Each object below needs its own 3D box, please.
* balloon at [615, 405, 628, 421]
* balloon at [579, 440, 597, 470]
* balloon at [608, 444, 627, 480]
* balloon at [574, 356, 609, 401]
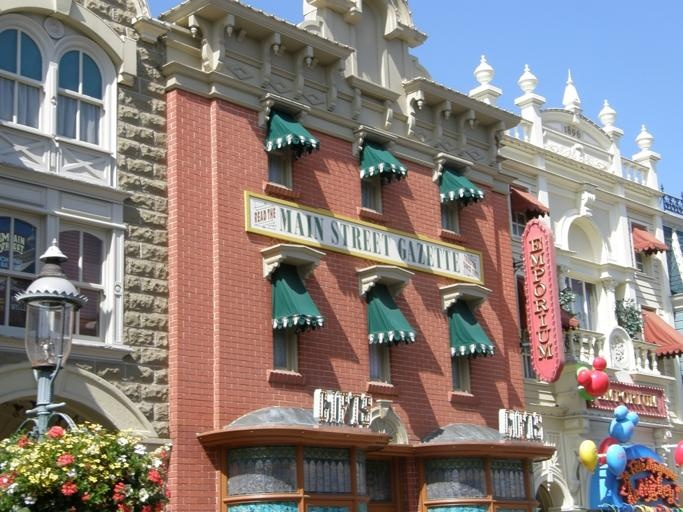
[{"bbox_3d":[8.498,4.781,36.894,0.355,0.486,0.447,-5,-21,7],"label":"balloon"},{"bbox_3d":[7.361,5.987,36.236,0.582,0.902,1.109,-6,-21,11],"label":"balloon"},{"bbox_3d":[8.272,6.151,36.553,0.606,0.842,0.925,-7,-22,11],"label":"balloon"},{"bbox_3d":[7.577,3.673,36.749,0.937,1.203,1.226,-6,-21,10],"label":"balloon"}]
